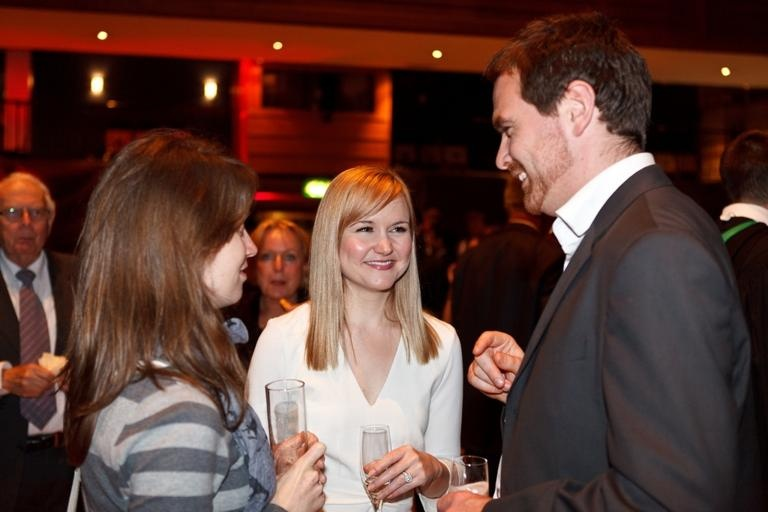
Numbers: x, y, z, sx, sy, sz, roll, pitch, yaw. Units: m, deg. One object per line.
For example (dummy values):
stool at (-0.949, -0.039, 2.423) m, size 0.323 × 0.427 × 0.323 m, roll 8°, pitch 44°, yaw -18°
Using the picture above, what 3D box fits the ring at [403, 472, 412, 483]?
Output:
ring at (0.087, 0.841, 2.728) m, size 0.028 × 0.040 × 0.014 m, roll -38°, pitch 13°, yaw -14°

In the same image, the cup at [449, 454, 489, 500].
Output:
cup at (0.307, 0.803, 2.617) m, size 0.140 × 0.135 × 0.141 m, roll 0°, pitch -9°, yaw 0°
